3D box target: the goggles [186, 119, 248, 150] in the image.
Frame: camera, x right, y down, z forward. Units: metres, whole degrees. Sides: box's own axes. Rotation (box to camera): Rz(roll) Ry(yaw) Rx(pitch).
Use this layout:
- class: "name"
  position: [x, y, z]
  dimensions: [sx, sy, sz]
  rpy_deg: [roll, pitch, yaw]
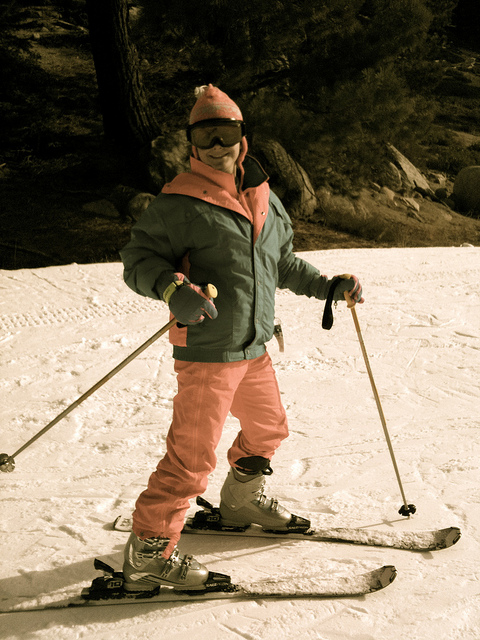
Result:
- class: "goggles"
  position: [-0.092, -0.731, 2.688]
  dimensions: [0.230, 0.118, 0.192]
  rpy_deg: [3, 19, -3]

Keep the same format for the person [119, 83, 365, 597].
- class: "person"
  position: [-0.041, 0.079, 2.766]
  dimensions: [0.854, 1.955, 0.997]
  rpy_deg: [6, 22, 1]

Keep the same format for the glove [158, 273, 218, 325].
- class: "glove"
  position: [-0.191, -0.076, 2.503]
  dimensions: [0.212, 0.175, 0.113]
  rpy_deg: [2, 22, -8]

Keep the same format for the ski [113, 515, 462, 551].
- class: "ski"
  position: [0.392, 0.934, 3.040]
  dimensions: [1.142, 0.168, 0.172]
  rpy_deg: [7, 20, 8]

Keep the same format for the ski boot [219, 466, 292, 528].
- class: "ski boot"
  position: [0.061, 0.810, 3.067]
  dimensions: [0.490, 0.242, 0.190]
  rpy_deg: [2, 16, 0]

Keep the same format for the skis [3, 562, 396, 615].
- class: "skis"
  position: [-0.164, 1.050, 2.660]
  dimensions: [1.608, 0.095, 0.144]
  rpy_deg: [-2, 0, -4]
